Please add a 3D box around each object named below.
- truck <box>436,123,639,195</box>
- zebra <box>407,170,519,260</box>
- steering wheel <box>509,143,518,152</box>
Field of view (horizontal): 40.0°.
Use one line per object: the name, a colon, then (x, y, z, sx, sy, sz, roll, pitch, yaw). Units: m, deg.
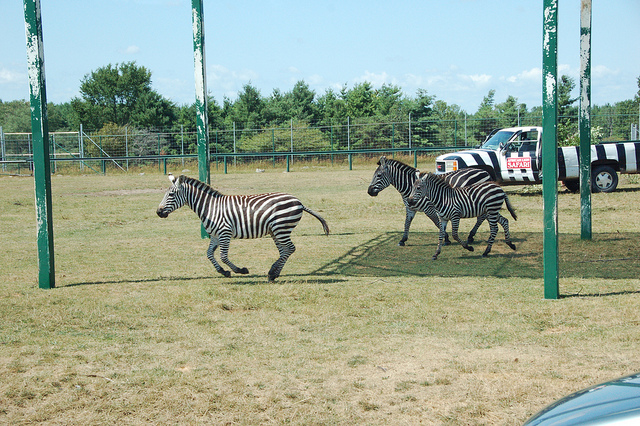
truck: (6.456, -1.485, 24.942, 4.303, 1.638, 3.010, 0, 2, -3)
zebra: (2.984, 0.022, 18.012, 2.338, 1.850, 0.682, -3, 6, -14)
steering wheel: (5.581, -1.929, 25.369, 0.228, 0.212, 0.155, 1, 6, 11)
